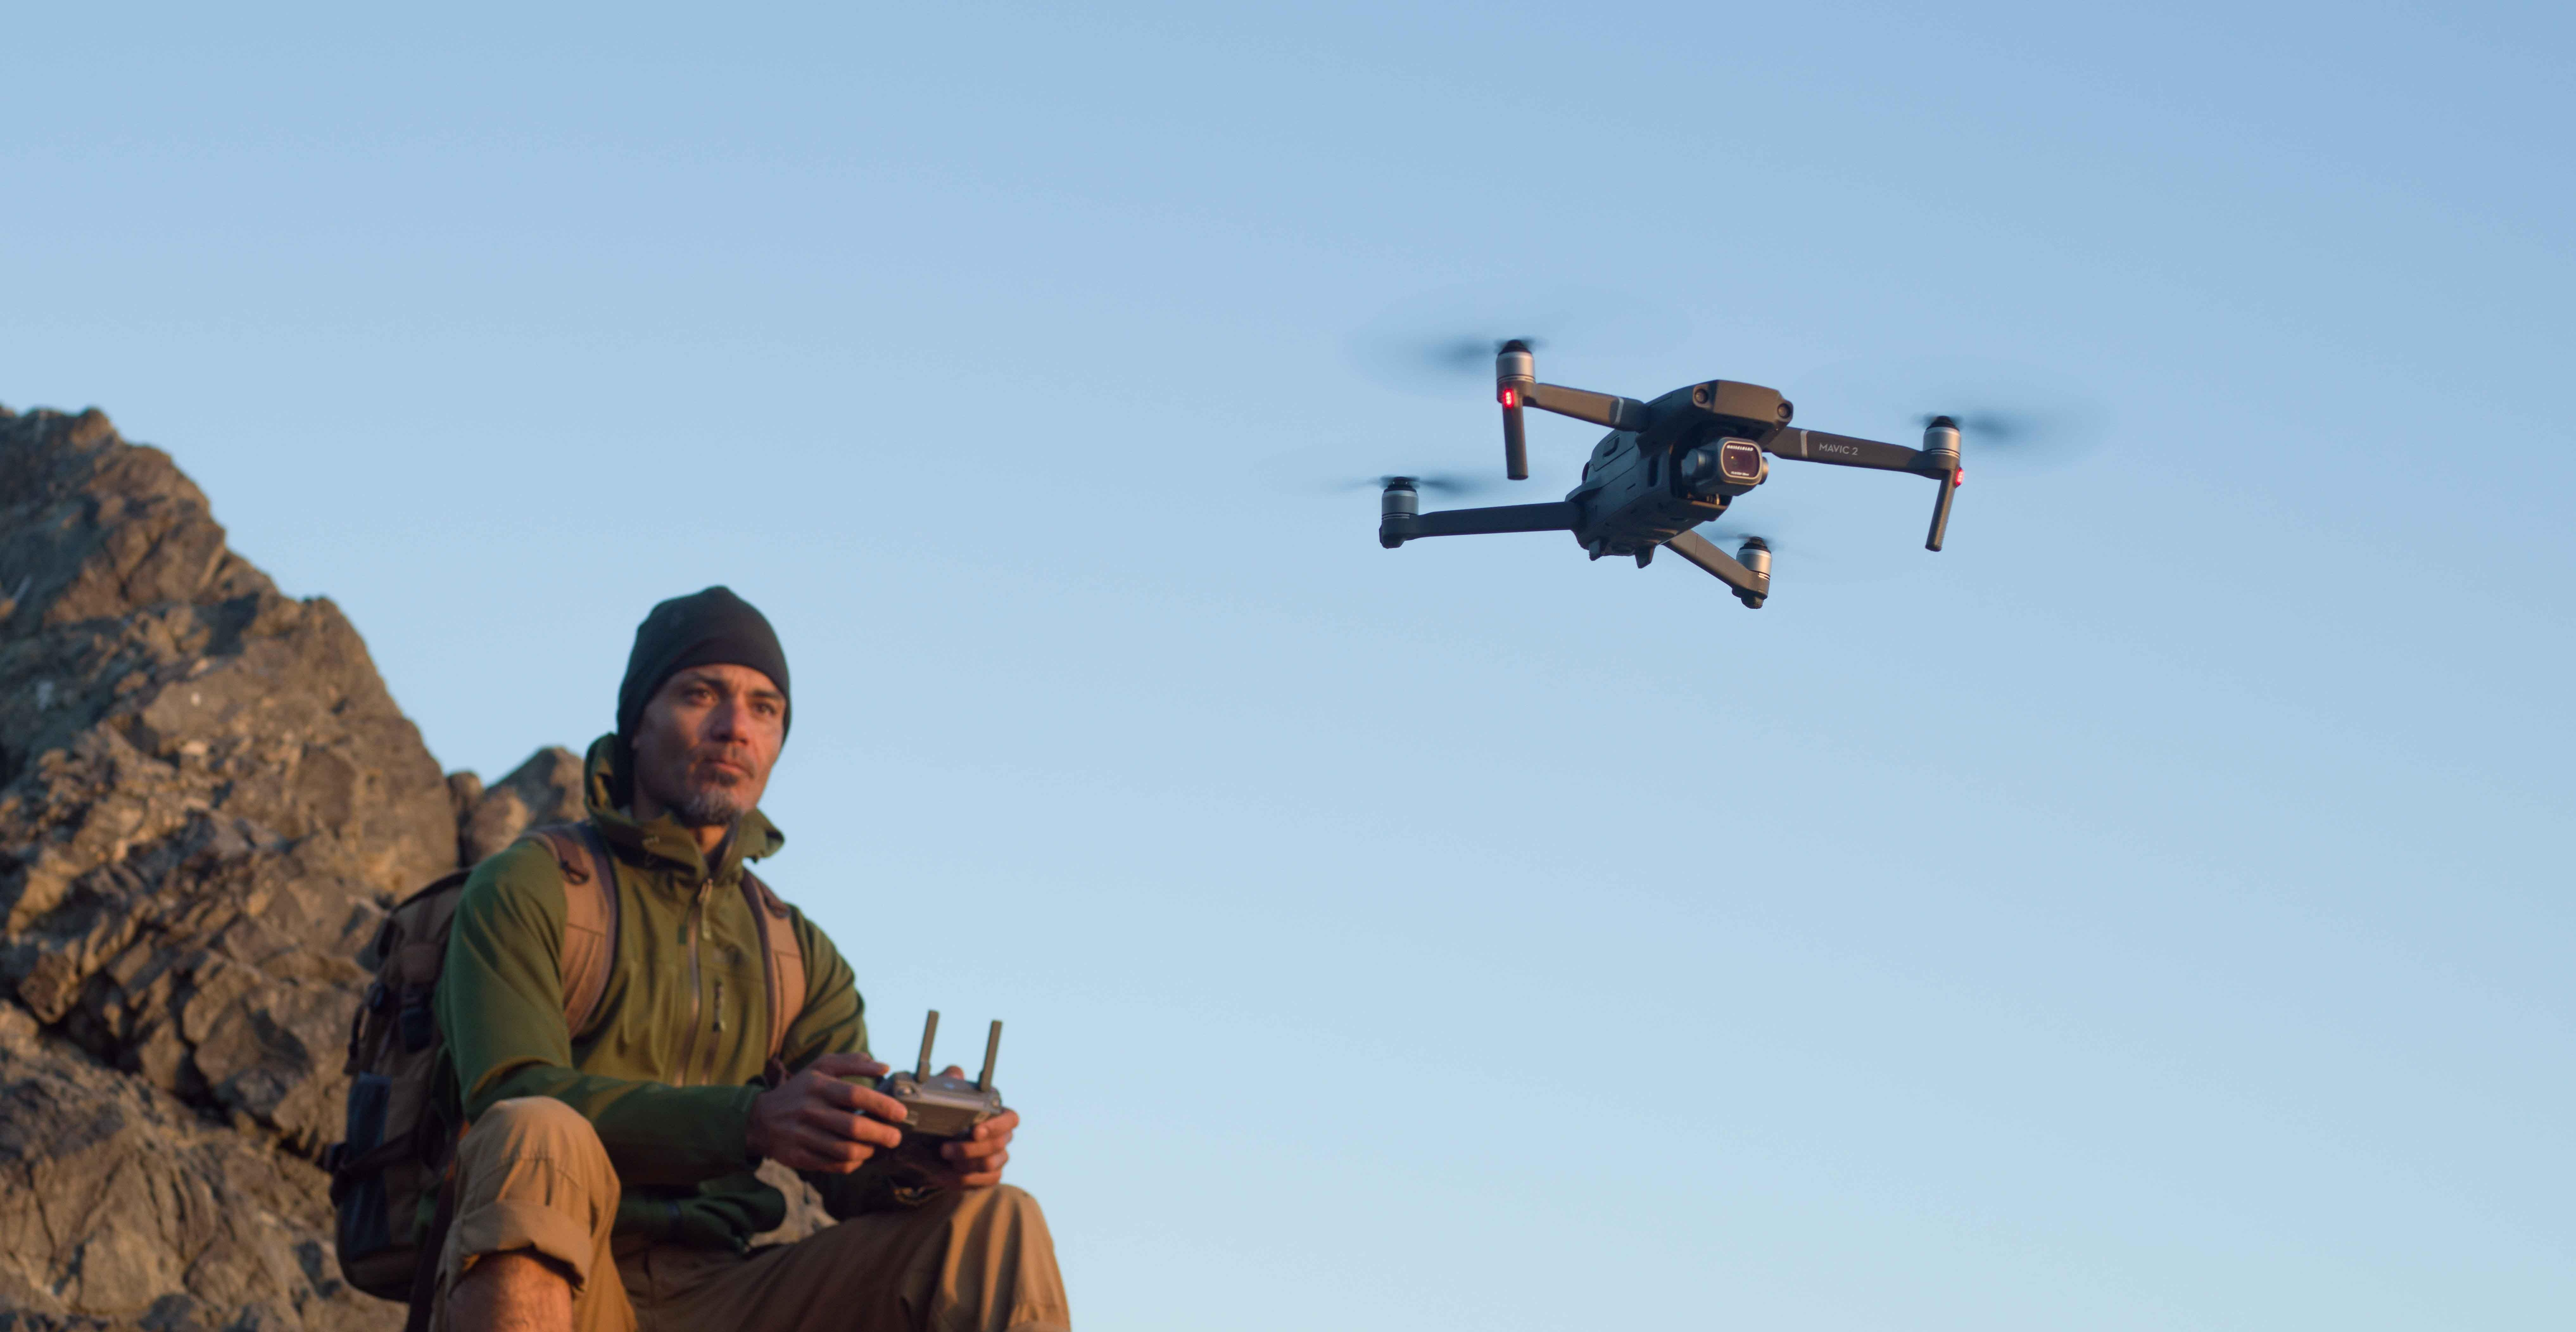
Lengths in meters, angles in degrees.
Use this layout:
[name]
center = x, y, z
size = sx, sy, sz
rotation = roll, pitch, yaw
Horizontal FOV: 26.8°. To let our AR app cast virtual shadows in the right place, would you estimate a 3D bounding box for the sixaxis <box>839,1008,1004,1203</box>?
[sixaxis]
center = -2.852, 3.679, 44.848
size = 0.988, 1.054, 1.402
rotation = 6, -43, -2
